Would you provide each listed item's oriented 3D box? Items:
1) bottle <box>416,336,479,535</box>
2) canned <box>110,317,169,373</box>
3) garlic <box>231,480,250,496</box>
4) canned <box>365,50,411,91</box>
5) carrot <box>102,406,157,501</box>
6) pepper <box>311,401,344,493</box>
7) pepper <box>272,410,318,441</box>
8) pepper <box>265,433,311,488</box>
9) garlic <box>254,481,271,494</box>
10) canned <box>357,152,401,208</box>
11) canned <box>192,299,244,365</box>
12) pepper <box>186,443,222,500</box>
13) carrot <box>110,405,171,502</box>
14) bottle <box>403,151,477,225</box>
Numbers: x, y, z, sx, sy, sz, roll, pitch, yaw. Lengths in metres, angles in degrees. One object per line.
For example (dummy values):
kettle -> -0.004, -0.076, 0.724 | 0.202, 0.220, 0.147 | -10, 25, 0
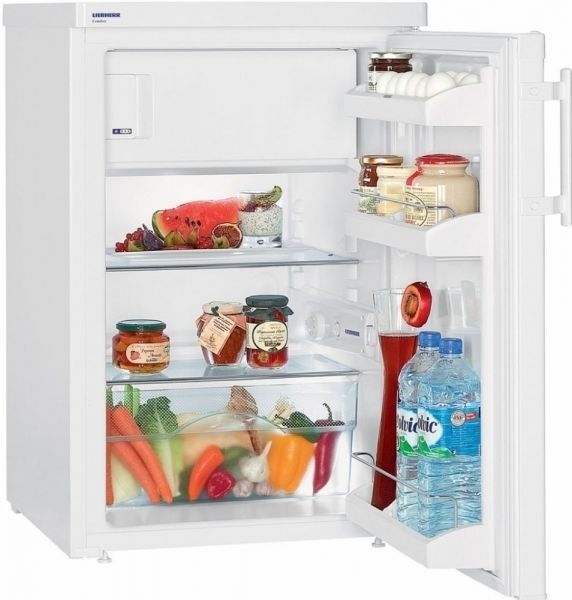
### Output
bottle -> 0.281, 0.252, 1.262 | 0.155, 0.358, 0.121 | -4, 18, -19
canned -> -0.387, 0.110, 1.719 | 0.135, 0.133, 0.093 | -13, 19, -28
garlic -> -0.120, 0.495, 1.726 | 0.057, 0.040, 0.020 | -7, -5, -4
canned -> 0.226, -0.526, 1.518 | 0.105, 0.095, 0.091 | 10, 31, 27
carrot -> -0.391, 0.370, 1.621 | 0.056, 0.285, 0.080 | -5, 23, 39
pepper -> 0.118, 0.416, 1.809 | 0.088, 0.207, 0.058 | 6, 2, -3
pepper -> 0.022, 0.328, 1.733 | 0.127, 0.058, 0.031 | 30, -11, -1
pepper -> -0.003, 0.425, 1.794 | 0.121, 0.138, 0.121 | -4, 16, -21
garlic -> -0.065, 0.499, 1.745 | 0.038, 0.023, 0.043 | 3, -8, -6
canned -> 0.191, -0.278, 1.506 | 0.127, 0.133, 0.146 | 0, 6, -1
canned -> -0.182, 0.079, 1.817 | 0.129, 0.170, 0.111 | -10, 19, -28
pepper -> -0.217, 0.435, 1.689 | 0.087, 0.137, 0.057 | 21, 5, 12
carrot -> -0.358, 0.374, 1.640 | 0.081, 0.300, 0.055 | -35, 19, 3
bottle -> 0.267, -0.212, 1.219 | 0.133, 0.135, 0.157 | -8, 19, -23
